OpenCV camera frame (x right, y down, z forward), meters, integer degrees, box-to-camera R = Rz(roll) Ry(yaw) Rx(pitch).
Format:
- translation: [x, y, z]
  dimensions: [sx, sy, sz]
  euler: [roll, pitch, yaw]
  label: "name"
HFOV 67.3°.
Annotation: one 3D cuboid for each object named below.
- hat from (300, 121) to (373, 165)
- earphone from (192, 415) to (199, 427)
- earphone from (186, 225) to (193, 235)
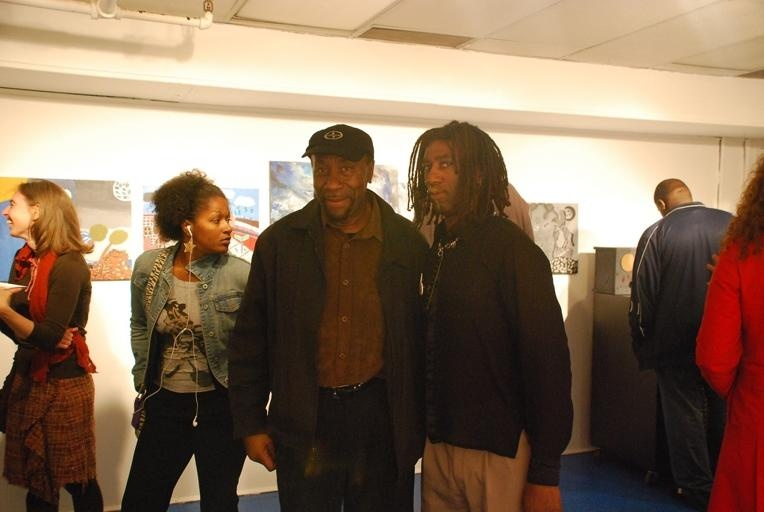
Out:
- translation: [-0.217, -0.593, 2.999]
  dimensions: [0.216, 0.149, 0.289]
  euler: [1, -5, 19]
  label: "hat"
- translation: [-1.114, 0.976, 3.411]
  dimensions: [0.032, 0.066, 0.007]
  euler: [2, 6, 5]
  label: "earphone"
- translation: [-1.204, -0.171, 3.567]
  dimensions: [0.034, 0.059, 0.015]
  euler: [-3, 0, 11]
  label: "earphone"
